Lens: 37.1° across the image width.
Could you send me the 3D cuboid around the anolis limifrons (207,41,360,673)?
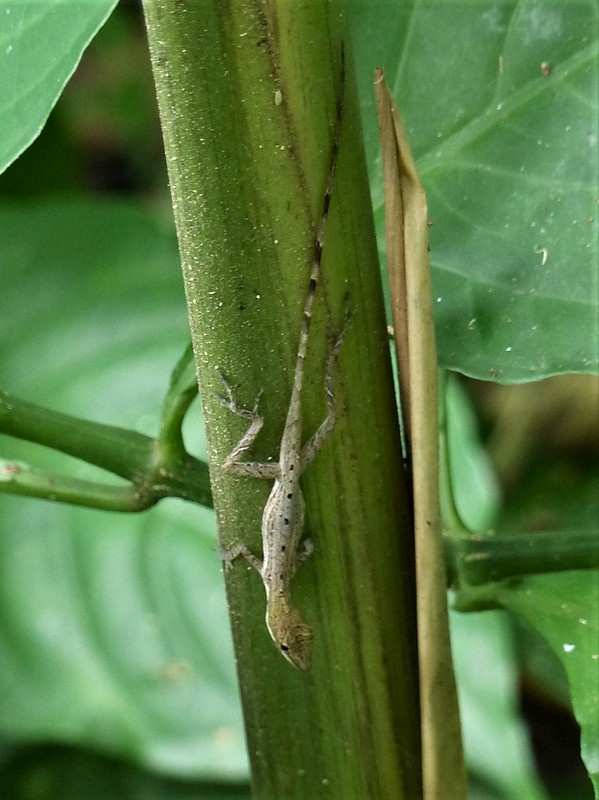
[{"bbox_3d":[-0.022,-0.017,0.926,0.133,0.562,0.336,-3,-7,-7],"label":"anolis limifrons"}]
